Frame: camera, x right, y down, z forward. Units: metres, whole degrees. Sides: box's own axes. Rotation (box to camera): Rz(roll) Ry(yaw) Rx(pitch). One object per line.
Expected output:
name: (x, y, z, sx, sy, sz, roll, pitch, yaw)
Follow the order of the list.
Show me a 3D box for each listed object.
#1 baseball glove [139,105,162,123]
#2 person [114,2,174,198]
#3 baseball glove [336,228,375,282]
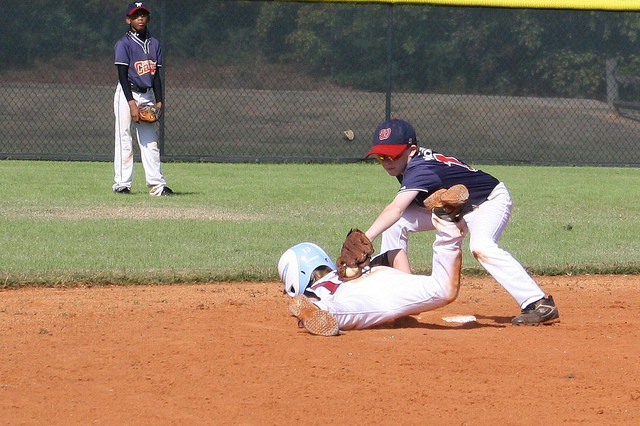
baseball glove: (-2.490, -1.434, 16.456, 0.366, 0.252, 0.237, -2, 8, -25)
person: (-2.641, -1.647, 16.550, 0.776, 2.832, 0.564, 0, 7, -11)
baseball glove: (0.401, 0.477, 12.285, 0.376, 0.595, 0.265, 17, -12, 7)
